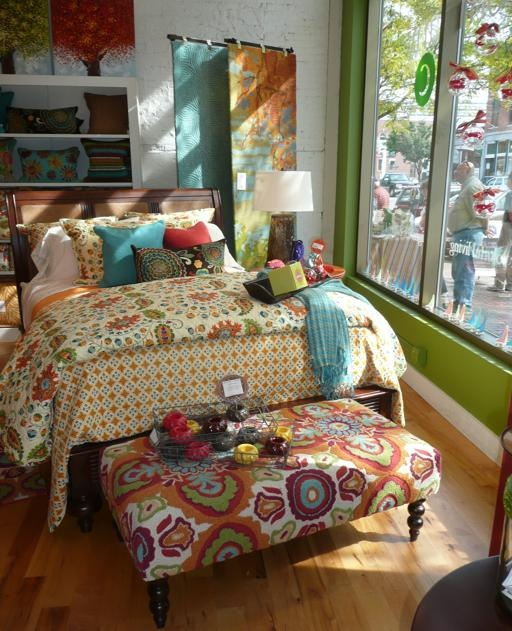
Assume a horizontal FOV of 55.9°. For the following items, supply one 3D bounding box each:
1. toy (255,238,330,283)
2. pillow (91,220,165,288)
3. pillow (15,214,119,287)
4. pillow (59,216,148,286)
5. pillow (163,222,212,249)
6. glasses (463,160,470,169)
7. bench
[{"bbox_3d":[0.258,-0.334,2.903,0.315,0.273,0.458,-4,0,6],"label":"toy"},{"bbox_3d":[-0.744,-0.346,2.789,0.443,0.360,0.152,-10,-17,-15],"label":"pillow"},{"bbox_3d":[-1.116,-0.444,3.018,0.535,0.489,0.159,-8,-11,-14],"label":"pillow"},{"bbox_3d":[-1.037,-0.404,3.039,0.489,0.427,0.144,-8,4,-40],"label":"pillow"},{"bbox_3d":[-0.447,-0.508,3.066,0.294,0.094,0.245,-7,37,-26],"label":"pillow"},{"bbox_3d":[1.136,-0.816,2.599,0.037,0.038,0.020,0,-6,-34],"label":"glasses"},{"bbox_3d":[0.066,0.597,1.572,1.002,0.433,0.407,-6,13,-25],"label":"bench"}]
